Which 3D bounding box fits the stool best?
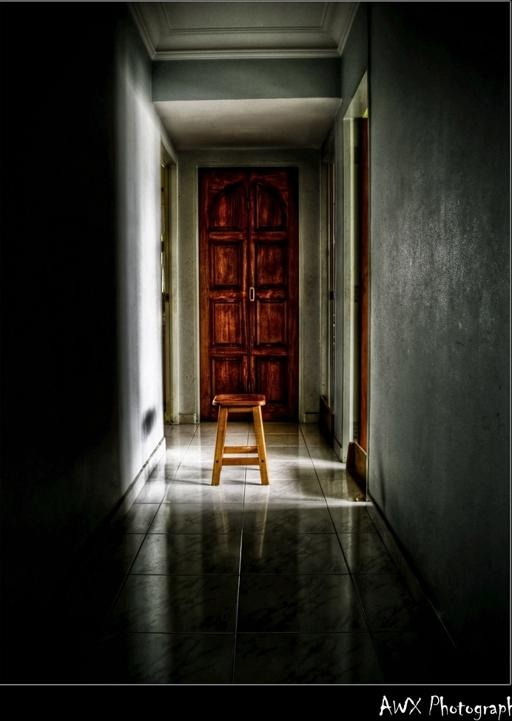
[{"bbox_3d":[-0.109,0.478,3.582,0.324,0.809,0.453,0,1,1],"label":"stool"}]
